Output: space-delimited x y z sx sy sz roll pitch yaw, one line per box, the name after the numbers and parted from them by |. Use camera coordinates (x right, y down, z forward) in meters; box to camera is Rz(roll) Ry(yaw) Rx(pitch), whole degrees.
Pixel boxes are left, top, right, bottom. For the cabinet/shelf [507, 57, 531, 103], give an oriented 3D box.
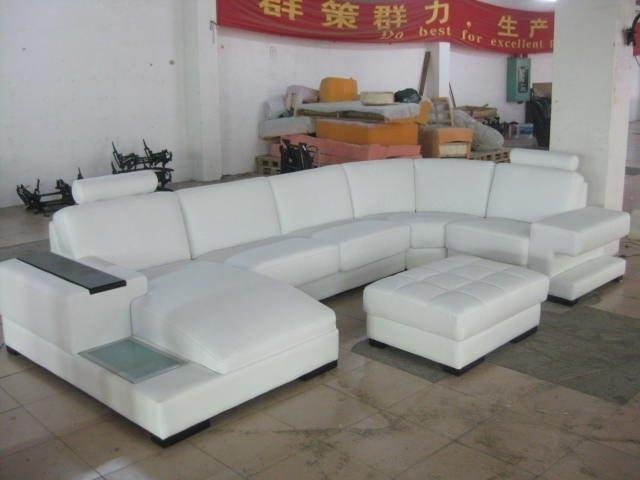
4.880 -3.967 12.553 0.638 1.021 0.306 -18 23 -30 | cabinet/shelf

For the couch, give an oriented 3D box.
-0.055 0.075 3.615 3.911 1.265 1.869 -14 20 -29 | couch
